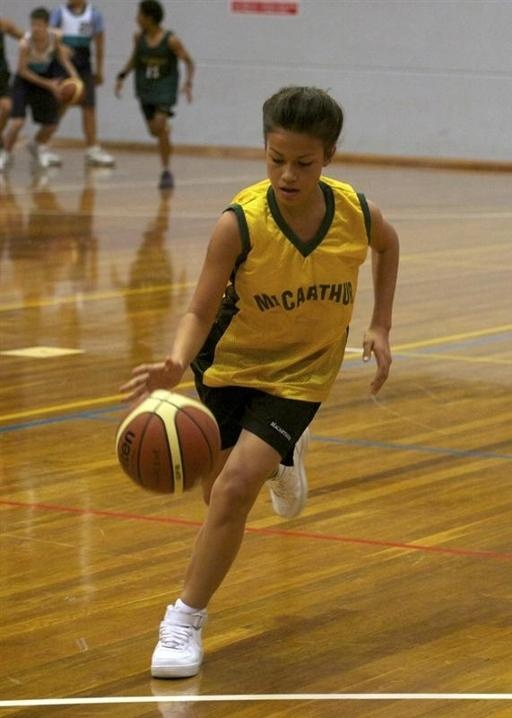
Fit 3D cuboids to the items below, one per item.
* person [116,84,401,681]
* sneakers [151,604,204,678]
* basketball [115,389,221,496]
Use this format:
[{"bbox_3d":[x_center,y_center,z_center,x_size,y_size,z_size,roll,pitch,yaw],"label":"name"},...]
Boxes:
[{"bbox_3d":[0.016,0.023,1.581,0.379,1.237,0.795,5,8,34],"label":"person"},{"bbox_3d":[-0.155,0.570,1.387,0.096,0.118,0.160,0,6,0],"label":"sneakers"},{"bbox_3d":[-0.145,0.138,1.343,0.210,0.196,0.187,8,20,18],"label":"basketball"}]
